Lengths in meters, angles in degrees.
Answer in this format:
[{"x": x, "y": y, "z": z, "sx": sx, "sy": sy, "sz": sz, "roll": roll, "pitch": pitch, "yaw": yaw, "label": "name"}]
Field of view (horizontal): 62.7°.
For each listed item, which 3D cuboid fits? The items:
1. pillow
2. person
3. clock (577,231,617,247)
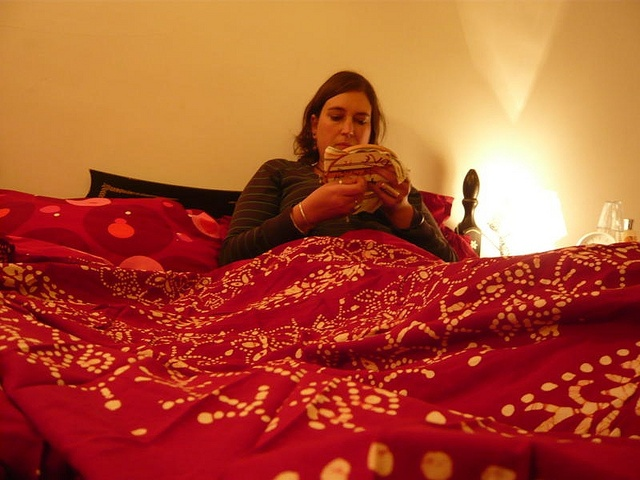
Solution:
[{"x": -0.583, "y": -0.174, "z": 1.890, "sx": 0.554, "sy": 0.187, "sz": 0.040, "roll": 8, "pitch": -7, "yaw": -16, "label": "pillow"}, {"x": 0.084, "y": -0.196, "z": 1.780, "sx": 0.743, "sy": 0.804, "sz": 0.472, "roll": 12, "pitch": -17, "yaw": -22, "label": "person"}, {"x": 1.016, "y": -0.007, "z": 1.934, "sx": 0.053, "sy": 0.012, "sz": 0.052, "roll": 26, "pitch": -29, "yaw": 0, "label": "clock"}]
